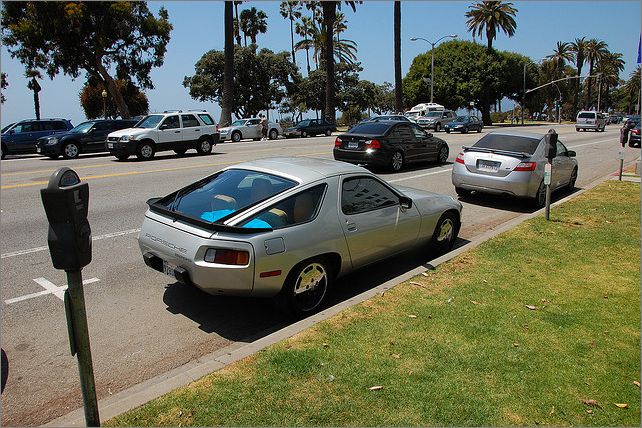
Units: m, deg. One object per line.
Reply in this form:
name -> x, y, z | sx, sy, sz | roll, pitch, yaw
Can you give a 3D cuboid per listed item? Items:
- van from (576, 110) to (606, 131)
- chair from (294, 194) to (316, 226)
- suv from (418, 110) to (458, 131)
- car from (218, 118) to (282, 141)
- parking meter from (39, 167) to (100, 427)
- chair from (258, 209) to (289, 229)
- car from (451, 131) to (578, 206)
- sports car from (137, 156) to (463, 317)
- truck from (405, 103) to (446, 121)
van -> 32.062, -11.138, 45.521 | 2.058, 1.925, 3.761 | 11, 30, 43
chair -> -0.227, -0.095, 5.320 | 0.424, 0.338, 0.164 | -18, 20, -40
suv -> 12.931, -10.454, 42.398 | 4.794, 2.058, 2.420 | -14, 17, -38
car -> -6.186, -7.340, 33.709 | 1.592, 1.988, 6.237 | 7, 20, 35
parking meter -> -1.995, 0.762, 3.239 | 0.414, 2.294, 0.369 | -14, 18, -36
chair -> -0.621, 0.051, 5.083 | 0.384, 0.230, 0.167 | -8, 15, -12
car -> 6.182, -1.651, 11.674 | 1.907, 1.415, 4.087 | 10, 24, 41
sports car -> 0.157, 0.098, 7.550 | 2.990, 2.259, 6.544 | 3, 11, 42
truck -> 11.812, -12.073, 44.835 | 4.828, 2.568, 2.602 | -16, 16, -31
